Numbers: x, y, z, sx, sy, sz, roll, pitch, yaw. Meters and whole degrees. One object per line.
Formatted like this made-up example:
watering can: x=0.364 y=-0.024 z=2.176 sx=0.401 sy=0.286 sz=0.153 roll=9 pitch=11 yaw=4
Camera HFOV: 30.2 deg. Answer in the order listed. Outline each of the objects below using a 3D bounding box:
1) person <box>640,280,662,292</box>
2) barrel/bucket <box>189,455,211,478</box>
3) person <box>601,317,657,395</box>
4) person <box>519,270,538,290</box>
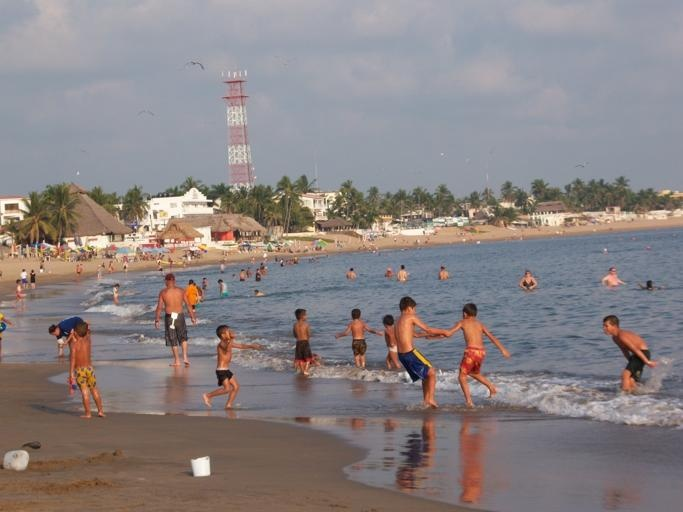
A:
person: x=13.054 y=1.132 z=52.475 sx=0.843 sy=0.324 sz=0.791 roll=-3 pitch=4 yaw=-21
barrel/bucket: x=-2.924 y=4.208 z=26.219 sx=0.416 sy=0.366 sz=0.573 roll=-1 pitch=4 yaw=-7
person: x=6.912 y=2.259 z=30.393 sx=1.074 sy=1.845 sz=0.722 roll=0 pitch=4 yaw=12
person: x=8.712 y=0.957 z=58.485 sx=0.840 sy=1.085 sz=0.633 roll=-2 pitch=-5 yaw=5
